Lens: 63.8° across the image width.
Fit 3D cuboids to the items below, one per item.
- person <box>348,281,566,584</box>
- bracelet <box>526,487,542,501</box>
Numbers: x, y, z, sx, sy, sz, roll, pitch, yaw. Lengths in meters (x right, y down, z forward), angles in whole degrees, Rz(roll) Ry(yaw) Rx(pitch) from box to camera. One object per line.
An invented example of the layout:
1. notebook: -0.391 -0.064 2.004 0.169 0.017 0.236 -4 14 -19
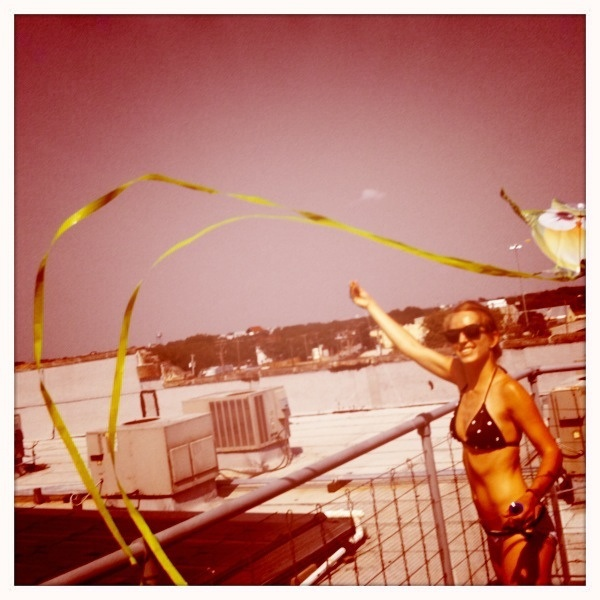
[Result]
1. person: 0.906 0.731 2.433 0.612 1.425 0.917 -10 -5 -13
2. bracelet: 0.977 0.813 2.006 0.066 0.055 0.036 -6 -6 -36
